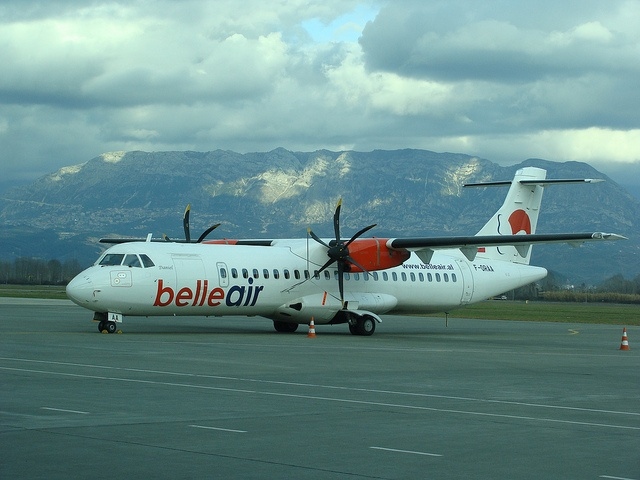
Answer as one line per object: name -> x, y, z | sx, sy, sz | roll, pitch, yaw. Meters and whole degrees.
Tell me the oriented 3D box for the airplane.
airplane -> 0.325, 1.363, 33.719 | 13.678, 3.072, 12.432 | 3, -5, -34
